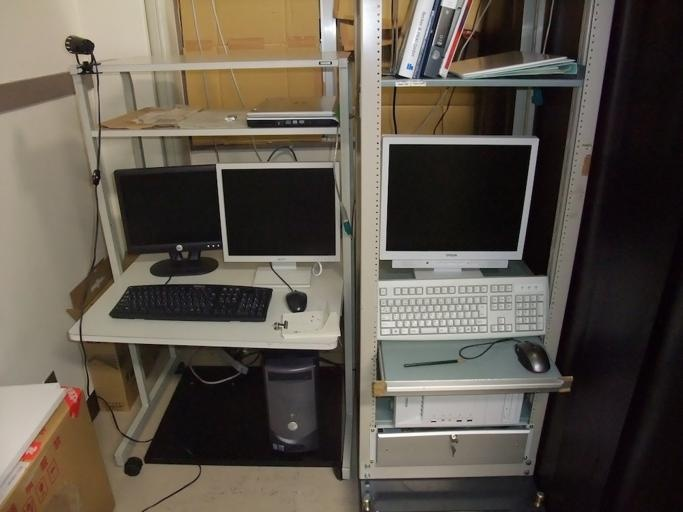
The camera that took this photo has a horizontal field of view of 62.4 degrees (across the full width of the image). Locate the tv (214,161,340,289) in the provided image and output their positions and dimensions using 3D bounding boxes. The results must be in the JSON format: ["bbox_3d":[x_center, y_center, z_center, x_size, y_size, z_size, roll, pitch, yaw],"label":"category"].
[{"bbox_3d":[-0.289,-0.153,2.559,0.515,0.548,0.178,0,20,2],"label":"tv"}]

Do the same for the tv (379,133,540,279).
[{"bbox_3d":[0.443,-0.200,2.200,0.566,0.548,0.093,0,27,2],"label":"tv"}]

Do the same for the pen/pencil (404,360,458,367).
[{"bbox_3d":[0.346,0.410,2.167,0.215,0.016,0.027,-2,22,-4],"label":"pen/pencil"}]

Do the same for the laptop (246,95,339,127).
[{"bbox_3d":[-0.199,-0.644,2.506,0.380,0.072,0.446,0,23,0],"label":"laptop"}]

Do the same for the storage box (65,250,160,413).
[{"bbox_3d":[-1.097,0.337,2.665,0.237,0.671,0.558,4,28,4],"label":"storage box"}]

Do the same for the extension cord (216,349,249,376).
[{"bbox_3d":[-0.621,0.597,3.264,0.022,0.078,0.302,6,20,-42],"label":"extension cord"}]
